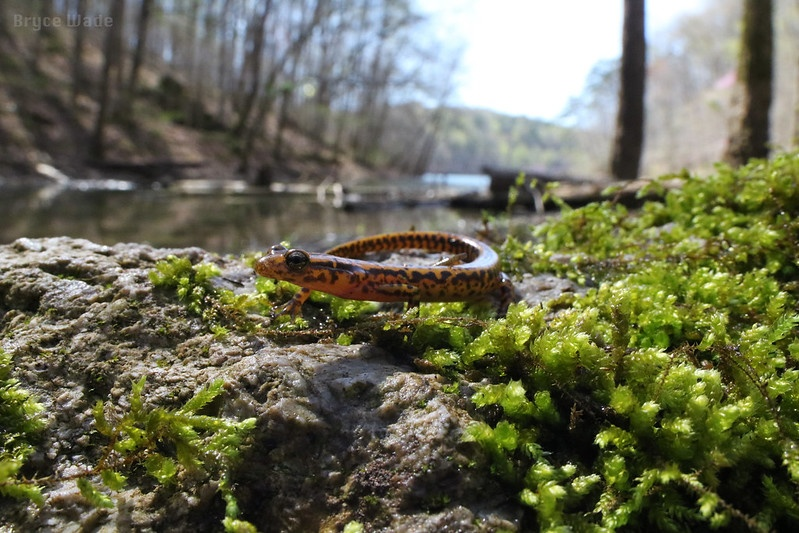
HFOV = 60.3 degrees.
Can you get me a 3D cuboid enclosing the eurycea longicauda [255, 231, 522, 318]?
[{"bbox_3d":[-0.259,0.044,7.636,2.760,0.656,1.865,-2,13,-22],"label":"eurycea longicauda"}]
